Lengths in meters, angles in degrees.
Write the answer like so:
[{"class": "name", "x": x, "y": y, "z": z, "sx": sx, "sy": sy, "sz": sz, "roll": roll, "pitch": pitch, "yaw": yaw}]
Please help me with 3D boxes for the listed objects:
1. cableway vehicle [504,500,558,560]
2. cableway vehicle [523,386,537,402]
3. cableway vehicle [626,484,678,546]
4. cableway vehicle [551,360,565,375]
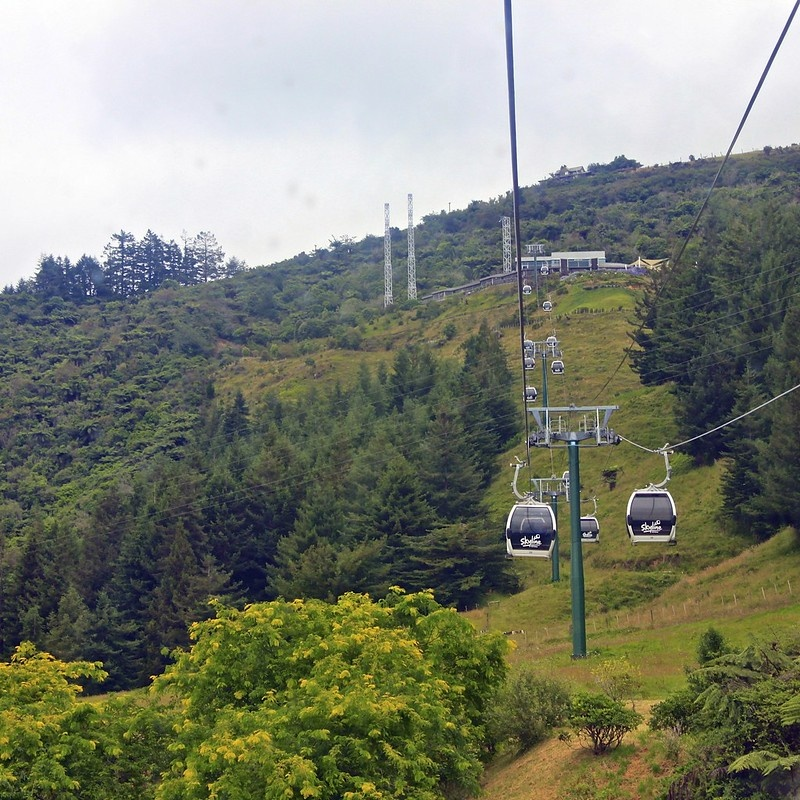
[{"class": "cableway vehicle", "x": 5.930, "y": 6.221, "z": 81.652, "sx": 2.551, "sy": 2.896, "sz": 2.294, "roll": 1, "pitch": -2, "yaw": -14}, {"class": "cableway vehicle", "x": 6.133, "y": -0.147, "z": 82.792, "sx": 0.695, "sy": 0.693, "sz": 1.317, "roll": -1, "pitch": -1, "yaw": 6}, {"class": "cableway vehicle", "x": 11.726, "y": 5.510, "z": 81.444, "sx": 2.260, "sy": 2.879, "sz": 2.011, "roll": -1, "pitch": 2, "yaw": 6}, {"class": "cableway vehicle", "x": 7.711, "y": -1.514, "z": 85.737, "sx": 0.733, "sy": 0.824, "sz": 2.235, "roll": -2, "pitch": 0, "yaw": 6}]
